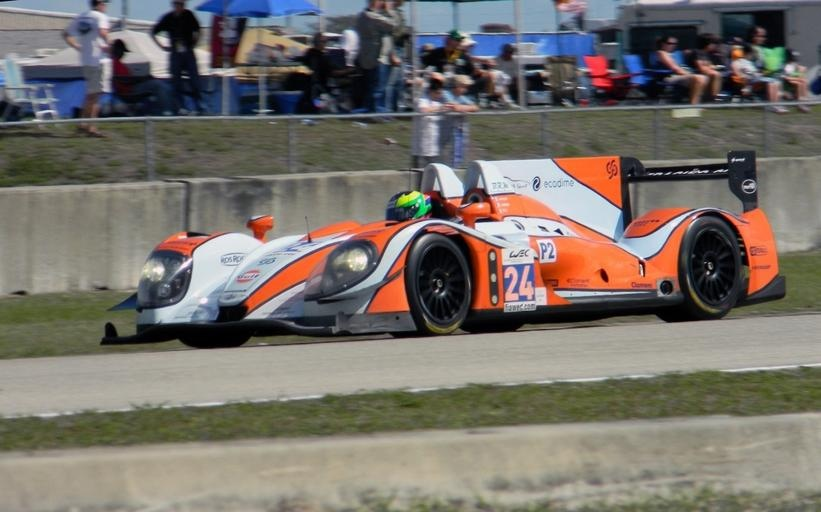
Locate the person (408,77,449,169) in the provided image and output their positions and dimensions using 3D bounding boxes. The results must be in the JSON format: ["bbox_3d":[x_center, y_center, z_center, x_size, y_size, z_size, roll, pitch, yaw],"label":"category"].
[{"bbox_3d":[0.290,-1.925,21.216,0.607,1.131,0.525,-1,1,-23],"label":"person"}]

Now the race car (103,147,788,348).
[{"bbox_3d":[0.783,-0.012,17.078,7.457,2.128,1.421,-8,9,-16],"label":"race car"}]

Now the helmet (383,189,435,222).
[{"bbox_3d":[0.000,-0.580,17.122,0.538,0.306,0.355,6,-6,-20],"label":"helmet"}]

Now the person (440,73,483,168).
[{"bbox_3d":[0.672,-1.934,20.992,0.617,1.338,0.464,0,19,6],"label":"person"}]

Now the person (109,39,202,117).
[{"bbox_3d":[-4.071,-2.625,21.521,2.708,1.021,1.076,2,1,36],"label":"person"}]
